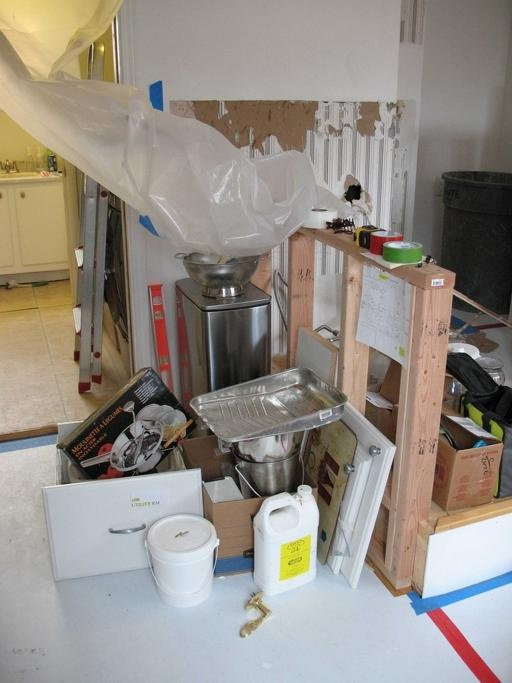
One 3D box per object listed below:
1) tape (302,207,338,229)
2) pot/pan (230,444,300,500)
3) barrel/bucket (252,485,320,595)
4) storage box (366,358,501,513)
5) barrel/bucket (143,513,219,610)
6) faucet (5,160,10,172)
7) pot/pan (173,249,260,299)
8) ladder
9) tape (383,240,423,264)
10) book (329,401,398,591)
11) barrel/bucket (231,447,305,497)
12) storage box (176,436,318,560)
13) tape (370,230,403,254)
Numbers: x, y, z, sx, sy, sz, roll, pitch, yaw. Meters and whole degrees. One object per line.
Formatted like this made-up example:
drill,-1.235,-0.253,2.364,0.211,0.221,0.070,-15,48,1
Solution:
tape,0.245,-0.469,1.861,0.085,0.051,0.089,6,32,11
pot/pan,0.044,0.450,1.666,0.197,0.154,0.185,-7,21,-12
barrel/bucket,0.092,0.605,1.511,0.196,0.297,0.101,-8,16,-29
storage box,0.628,0.359,1.785,0.349,0.324,0.447,-12,36,-28
barrel/bucket,-0.219,0.669,1.510,0.206,0.200,0.204,-1,16,0
faucet,-2.615,-1.835,5.213,0.066,0.117,0.027,-4,10,-26
pot/pan,-0.157,-0.283,2.159,0.354,0.194,0.306,2,9,12
ladder,-1.080,-0.749,3.201,0.250,2.083,0.542,-3,9,-21
tape,0.389,-0.235,1.322,0.107,0.063,0.130,2,9,16
book,0.326,0.507,1.539,0.037,0.478,0.408,9,22,-18
barrel/bucket,0.026,0.483,1.752,0.221,0.231,0.188,-2,56,7
storage box,-0.041,0.362,1.623,0.288,0.242,0.568,-5,19,-16
tape,0.373,-0.299,1.424,0.072,0.052,0.074,-16,32,-30
